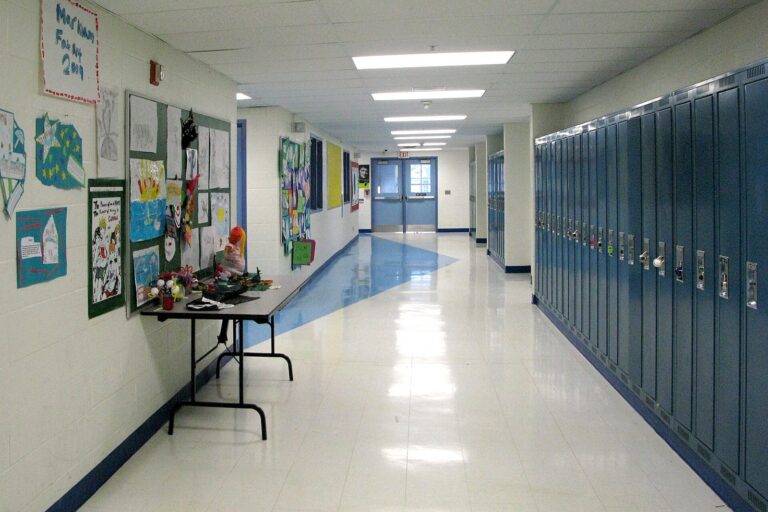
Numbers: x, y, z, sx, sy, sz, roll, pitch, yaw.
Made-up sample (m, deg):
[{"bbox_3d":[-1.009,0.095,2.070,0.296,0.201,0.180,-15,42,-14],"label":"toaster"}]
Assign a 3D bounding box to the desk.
[{"bbox_3d":[-1.420,0.923,5.061,1.023,1.042,2.168,1,4,-3],"label":"desk"}]
